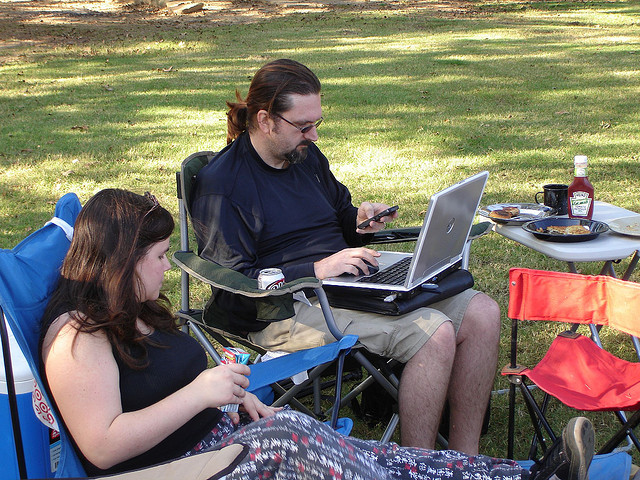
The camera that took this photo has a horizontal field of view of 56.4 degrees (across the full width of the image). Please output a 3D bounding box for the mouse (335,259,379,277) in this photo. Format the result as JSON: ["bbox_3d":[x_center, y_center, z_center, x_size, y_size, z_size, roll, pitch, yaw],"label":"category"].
[{"bbox_3d":[0.199,0.156,2.982,0.162,0.049,0.092,-14,30,16],"label":"mouse"}]

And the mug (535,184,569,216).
[{"bbox_3d":[1.314,-0.221,3.346,0.148,0.156,0.203,2,13,20],"label":"mug"}]

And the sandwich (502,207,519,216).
[{"bbox_3d":[1.065,-0.164,3.311,0.058,0.030,0.061,7,14,24],"label":"sandwich"}]

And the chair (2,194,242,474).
[{"bbox_3d":[-0.771,0.281,2.420,0.985,1.120,0.996,3,3,-3],"label":"chair"}]

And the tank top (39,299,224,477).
[{"bbox_3d":[-0.705,0.557,2.156,0.357,0.648,0.486,-18,6,20],"label":"tank top"}]

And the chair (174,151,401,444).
[{"bbox_3d":[-0.211,0.613,3.173,0.927,1.198,0.922,-13,-9,-10],"label":"chair"}]

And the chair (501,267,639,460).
[{"bbox_3d":[1.148,0.551,2.711,0.594,0.846,0.508,2,14,18],"label":"chair"}]
